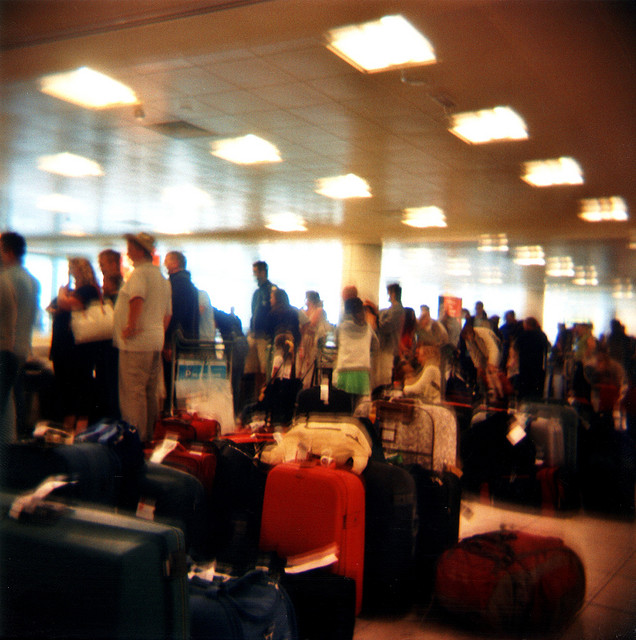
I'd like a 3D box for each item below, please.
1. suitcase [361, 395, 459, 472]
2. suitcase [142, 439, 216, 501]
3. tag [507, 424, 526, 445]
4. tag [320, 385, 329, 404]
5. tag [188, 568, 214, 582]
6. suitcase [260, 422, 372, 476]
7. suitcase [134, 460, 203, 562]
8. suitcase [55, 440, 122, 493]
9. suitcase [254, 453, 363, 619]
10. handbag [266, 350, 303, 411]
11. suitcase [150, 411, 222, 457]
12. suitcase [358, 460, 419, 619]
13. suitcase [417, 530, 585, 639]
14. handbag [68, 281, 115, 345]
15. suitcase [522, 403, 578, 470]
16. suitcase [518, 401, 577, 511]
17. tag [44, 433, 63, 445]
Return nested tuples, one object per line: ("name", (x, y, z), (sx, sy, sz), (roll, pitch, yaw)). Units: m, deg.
("suitcase", (0.388, 0.500, 2.896), (0.403, 0.319, 0.300), (6, 5, 28))
("suitcase", (-0.530, 0.579, 2.409), (0.181, 0.193, 0.068), (3, 13, 17))
("tag", (1.059, 0.611, 3.360), (0.091, 0.056, 0.051), (-25, 11, -21))
("tag", (0.025, 0.310, 2.623), (0.044, 0.085, 0.044), (-7, -16, 35))
("tag", (-0.362, 0.795, 1.984), (0.047, 0.020, 0.039), (-10, -14, 37))
("suitcase", (-0.006, 0.460, 2.439), (0.429, 0.168, 0.338), (-3, 0, 7))
("suitcase", (-0.520, 0.646, 2.287), (0.221, 0.328, 0.235), (10, 8, 32))
("suitcase", (-0.765, 0.482, 2.075), (0.113, 0.148, 0.238), (2, 1, 27))
("suitcase", (-0.075, 0.769, 2.204), (0.296, 0.191, 0.495), (9, 27, -3))
("handbag", (-0.186, 0.396, 3.613), (0.173, 0.341, 0.195), (4, -3, 3))
("suitcase", (-0.629, 0.532, 3.123), (0.248, 0.166, 0.447), (6, 0, 14))
("suitcase", (0.274, 0.815, 2.358), (0.255, 0.575, 0.070), (1, 1, -20))
("suitcase", (0.725, 0.965, 2.337), (0.456, 0.162, 0.360), (-10, 16, -25))
("handbag", (-1.074, -0.024, 2.948), (0.241, 0.343, 0.097), (-7, -16, -46))
("suitcase", (1.298, 0.623, 3.587), (0.244, 0.368, 0.244), (12, -7, 26))
("suitcase", (1.329, 0.747, 3.616), (0.298, 0.626, 0.312), (7, 7, 33))
("tag", (-0.898, 0.396, 2.134), (0.047, 0.017, 0.035), (5, -5, 44))
